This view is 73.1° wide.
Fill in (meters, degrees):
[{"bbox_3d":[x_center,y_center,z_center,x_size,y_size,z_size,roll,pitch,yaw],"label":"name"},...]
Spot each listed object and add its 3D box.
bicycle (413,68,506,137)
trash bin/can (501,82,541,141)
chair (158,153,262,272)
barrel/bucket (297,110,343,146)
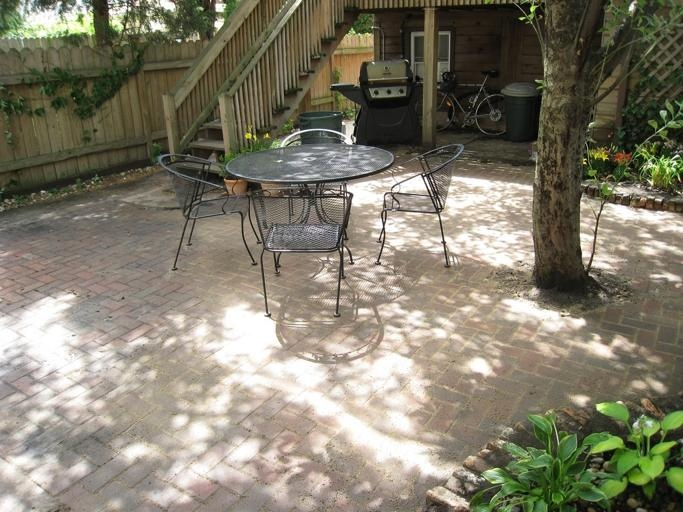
[{"bbox_3d":[2.845,-3.488,10.602,2.756,1.317,0.918,-7,22,-23],"label":"bicycle"},{"bbox_3d":[3.816,-2.928,9.541,0.992,0.967,0.889,1,24,15],"label":"trash bin/can"},{"bbox_3d":[-1.532,-0.471,5.455,1.392,1.416,1.029,-6,45,-11],"label":"chair"},{"bbox_3d":[-0.282,-2.315,8.197,0.898,0.563,0.804,8,12,15],"label":"barrel/bucket"}]
